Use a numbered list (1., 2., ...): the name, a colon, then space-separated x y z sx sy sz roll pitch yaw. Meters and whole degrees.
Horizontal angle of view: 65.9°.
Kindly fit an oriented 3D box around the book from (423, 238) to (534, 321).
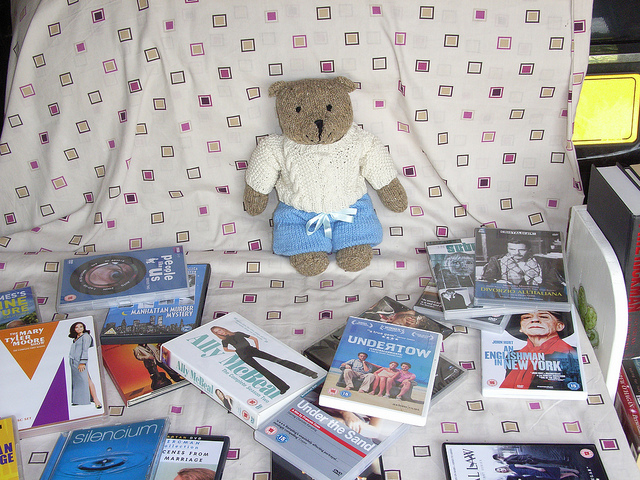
1. book: 0.476 0.104 1.575 0.250 0.052 0.250 -6 49 -4

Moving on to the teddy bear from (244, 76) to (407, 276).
1. teddy bear: 0.011 -0.224 1.682 0.635 0.610 0.415 0 33 5

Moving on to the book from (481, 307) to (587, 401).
1. book: 0.598 0.307 1.384 0.273 0.039 0.296 -10 43 18

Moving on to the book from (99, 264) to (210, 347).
1. book: -0.519 0.196 1.579 0.346 0.056 0.335 -15 54 -18
